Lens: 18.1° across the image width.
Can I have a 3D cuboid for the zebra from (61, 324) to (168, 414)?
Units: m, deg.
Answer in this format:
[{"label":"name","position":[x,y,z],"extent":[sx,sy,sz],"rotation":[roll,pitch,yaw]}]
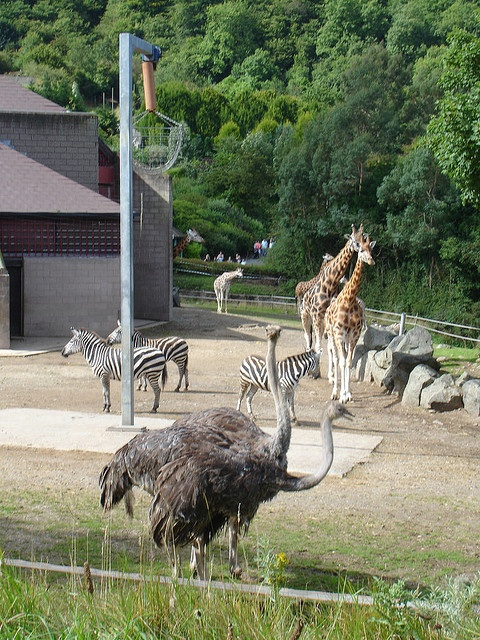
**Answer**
[{"label":"zebra","position":[-2.961,1.233,35.536],"extent":[2.416,1.709,1.126],"rotation":[7,14,23]}]
